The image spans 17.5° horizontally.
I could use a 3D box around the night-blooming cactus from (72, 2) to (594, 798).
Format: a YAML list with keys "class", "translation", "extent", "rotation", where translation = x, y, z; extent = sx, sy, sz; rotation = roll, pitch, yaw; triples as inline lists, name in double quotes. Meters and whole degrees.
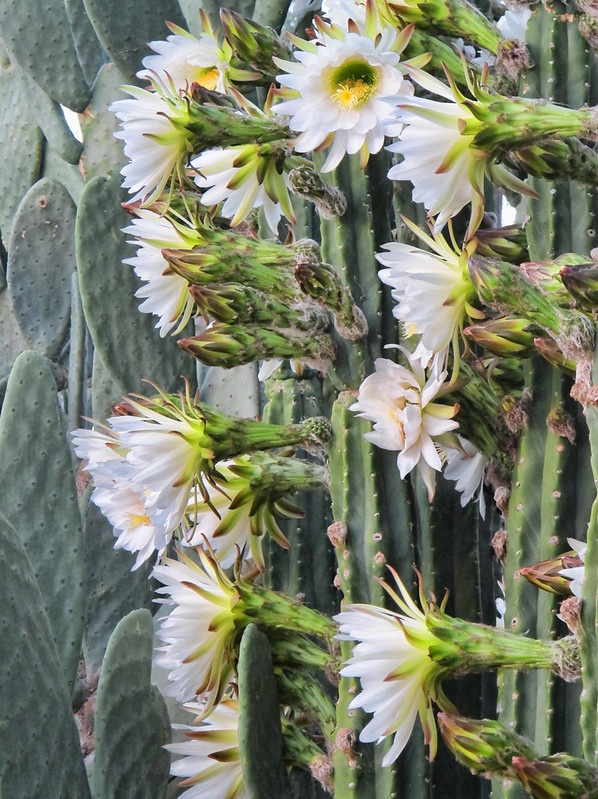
- class: "night-blooming cactus"
  translation: [0.048, -0.029, 2.481]
  extent: [0.767, 0.351, 0.942]
  rotation: [-4, 88, 12]
